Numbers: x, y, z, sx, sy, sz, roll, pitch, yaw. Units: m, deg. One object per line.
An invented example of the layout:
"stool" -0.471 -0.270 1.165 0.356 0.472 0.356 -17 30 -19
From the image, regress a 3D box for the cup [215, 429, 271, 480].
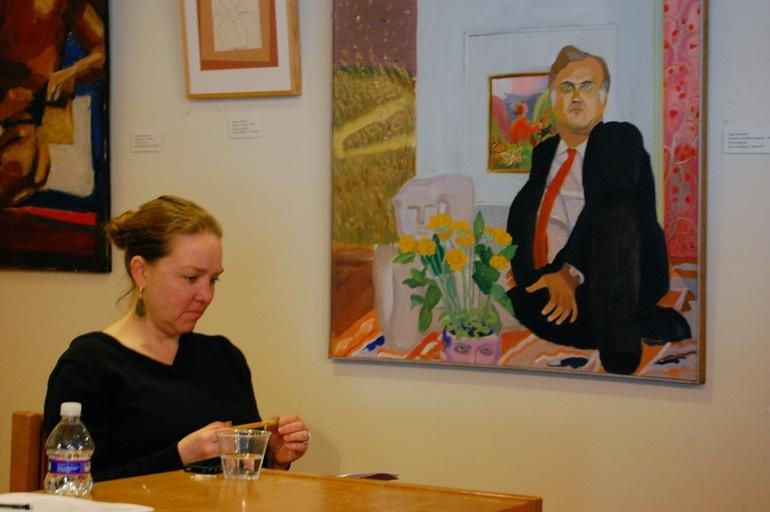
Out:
"cup" -0.446 0.612 2.390 0.154 0.133 0.153 1 -7 0

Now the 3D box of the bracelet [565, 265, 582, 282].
"bracelet" 0.761 0.069 3.066 0.048 0.070 0.022 -48 -11 25
